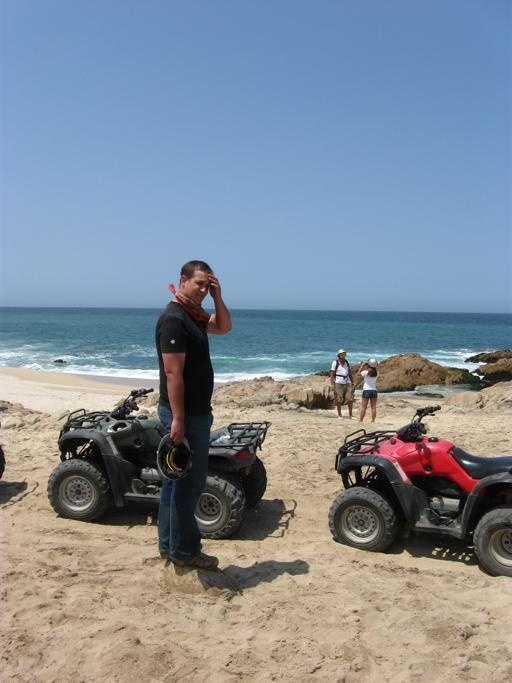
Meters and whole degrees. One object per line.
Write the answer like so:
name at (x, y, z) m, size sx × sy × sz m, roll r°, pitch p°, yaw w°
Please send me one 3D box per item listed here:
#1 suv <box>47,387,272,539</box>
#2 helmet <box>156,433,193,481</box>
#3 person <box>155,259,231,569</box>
suv at (-0.934, 1.111, 5.719) m, size 1.966 × 1.053 × 1.084 m, roll 4°, pitch 8°, yaw 15°
helmet at (-0.518, 0.702, 3.616) m, size 0.249 × 0.276 × 0.137 m, roll -2°, pitch 11°, yaw -8°
person at (-0.430, 0.523, 3.720) m, size 0.473 × 1.468 × 0.734 m, roll 2°, pitch -1°, yaw -3°
